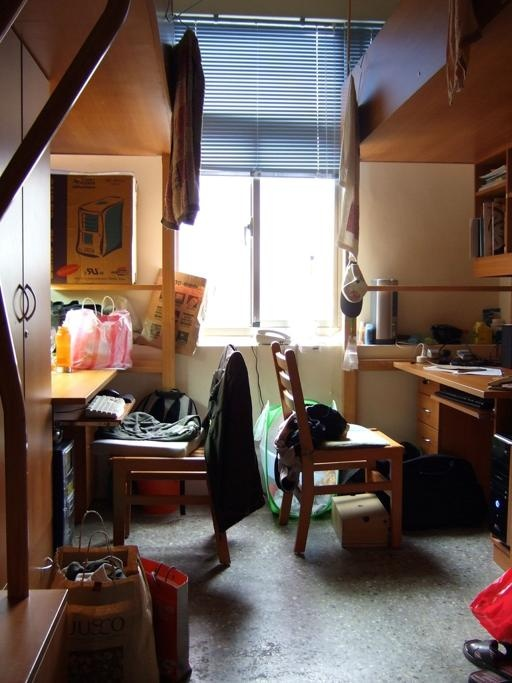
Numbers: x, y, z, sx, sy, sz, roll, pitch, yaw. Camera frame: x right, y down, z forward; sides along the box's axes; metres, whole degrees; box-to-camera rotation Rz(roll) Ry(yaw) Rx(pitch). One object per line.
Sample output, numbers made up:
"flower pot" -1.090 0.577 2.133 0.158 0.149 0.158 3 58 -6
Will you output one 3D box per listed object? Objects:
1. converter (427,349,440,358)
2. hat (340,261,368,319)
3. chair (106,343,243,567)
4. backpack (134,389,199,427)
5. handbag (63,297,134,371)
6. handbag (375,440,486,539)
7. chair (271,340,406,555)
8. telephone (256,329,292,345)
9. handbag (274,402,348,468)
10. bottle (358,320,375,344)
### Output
"converter" 0.985 0.063 3.153 0.043 0.032 0.062 2 10 8
"hat" 0.541 -0.256 3.185 0.173 0.389 0.195 -6 -38 13
"chair" -0.282 0.524 2.803 0.722 1.174 0.665 1 -1 -2
"backpack" -0.505 0.356 3.138 0.299 0.305 0.177 4 -4 -2
"handbag" -0.793 -0.019 2.857 0.159 0.330 0.356 6 5 39
"handbag" 0.881 0.715 2.824 0.442 0.482 0.278 0 -9 11
"chair" 0.360 0.451 2.549 0.576 0.872 0.575 0 2 1
"telephone" 0.090 -0.028 3.355 0.131 0.057 0.108 10 4 19
"handbag" 0.253 0.397 2.654 0.394 0.199 0.499 0 -3 -26
"bottle" 0.687 -0.054 3.492 0.082 0.167 0.107 -11 15 -35
